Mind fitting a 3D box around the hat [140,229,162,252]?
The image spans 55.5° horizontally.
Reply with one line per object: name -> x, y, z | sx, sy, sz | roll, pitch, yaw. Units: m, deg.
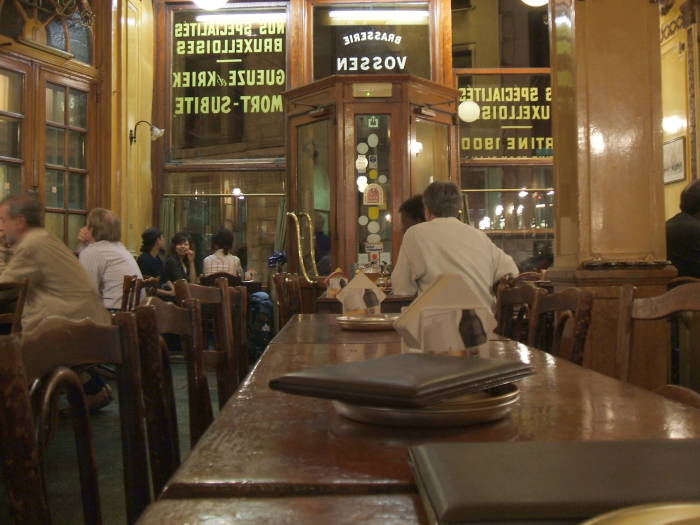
hat -> -1.994, -0.214, 6.647 | 0.175, 0.238, 0.193 | 6, -11, 17

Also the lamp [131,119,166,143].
lamp -> -2.402, -1.560, 7.854 | 0.421, 0.333, 0.236 | 0, 1, 18

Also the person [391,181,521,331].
person -> 0.533, 0.028, 3.490 | 0.612, 0.939, 0.522 | 0, -13, -12

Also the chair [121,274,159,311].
chair -> -1.243, 0.165, 3.901 | 0.195, 0.289, 0.210 | -1, -7, 13

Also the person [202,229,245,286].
person -> -1.490, 0.044, 7.783 | 0.481, 0.851, 0.456 | 6, -12, -32

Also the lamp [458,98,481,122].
lamp -> 1.622, -2.029, 8.867 | 0.288, 0.306, 0.166 | -1, 2, 4
